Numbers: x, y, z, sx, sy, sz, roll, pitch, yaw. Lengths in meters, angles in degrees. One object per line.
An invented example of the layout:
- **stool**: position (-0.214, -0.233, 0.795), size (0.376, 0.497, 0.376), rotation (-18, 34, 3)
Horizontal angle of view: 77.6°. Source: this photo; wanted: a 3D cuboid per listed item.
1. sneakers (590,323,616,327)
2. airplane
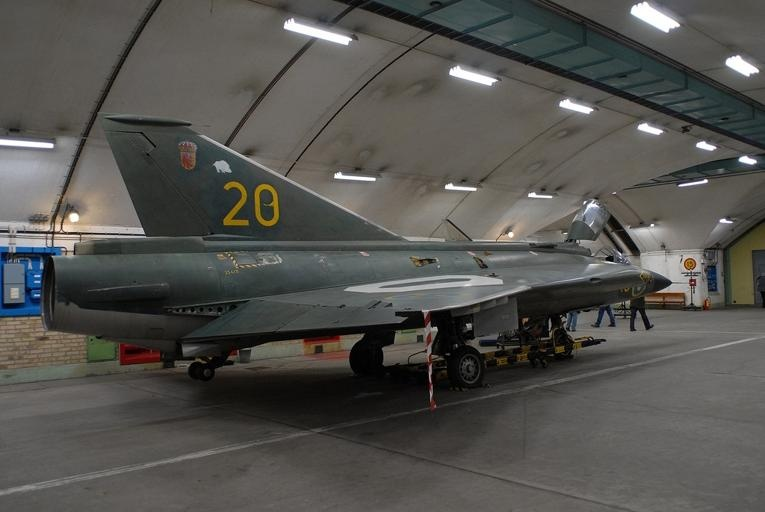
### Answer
- **sneakers**: position (8.301, 2.606, 17.866), size (0.632, 0.213, 0.173), rotation (-6, -6, 7)
- **airplane**: position (-0.685, 0.091, 8.007), size (7.859, 2.399, 6.187), rotation (-1, 0, -28)
